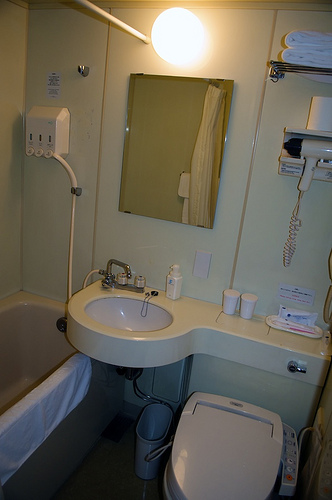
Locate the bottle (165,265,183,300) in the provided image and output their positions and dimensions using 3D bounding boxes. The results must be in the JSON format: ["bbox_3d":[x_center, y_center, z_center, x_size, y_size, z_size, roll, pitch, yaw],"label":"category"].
[{"bbox_3d":[0.035,0.138,1.672,0.059,0.156,0.060,5,18,-2],"label":"bottle"}]

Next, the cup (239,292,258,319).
[{"bbox_3d":[0.337,0.229,1.551,0.080,0.105,0.087,7,8,-1],"label":"cup"}]

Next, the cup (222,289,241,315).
[{"bbox_3d":[0.271,0.215,1.637,0.080,0.103,0.088,18,17,32],"label":"cup"}]

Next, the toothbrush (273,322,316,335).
[{"bbox_3d":[0.506,0.309,1.485,0.158,0.013,0.018,8,16,20],"label":"toothbrush"}]

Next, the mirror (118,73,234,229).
[{"bbox_3d":[0.057,-0.435,1.579,0.461,0.694,0.009,16,23,16],"label":"mirror"}]
